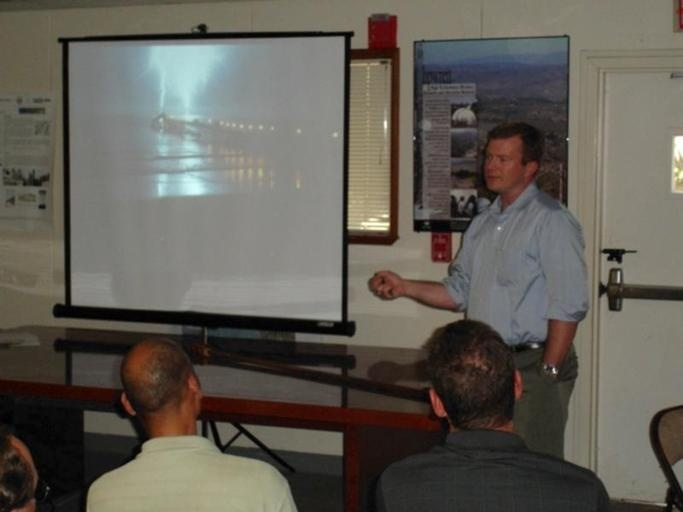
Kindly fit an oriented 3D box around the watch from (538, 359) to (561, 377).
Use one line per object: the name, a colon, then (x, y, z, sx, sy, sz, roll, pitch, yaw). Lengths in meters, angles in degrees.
watch: (1.017, 0.562, 4.260, 0.068, 0.022, 0.072, 27, 9, 2)
